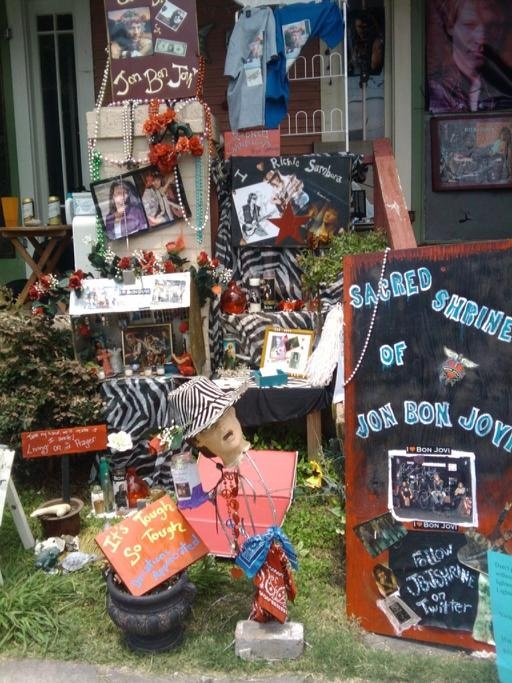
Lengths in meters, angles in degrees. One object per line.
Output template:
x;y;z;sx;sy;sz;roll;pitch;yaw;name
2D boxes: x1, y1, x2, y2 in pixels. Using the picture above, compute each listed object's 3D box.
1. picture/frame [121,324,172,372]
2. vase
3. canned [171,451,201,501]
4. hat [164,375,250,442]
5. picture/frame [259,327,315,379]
-0.893;0.058;5.165;0.393;0.449;0.016;-1;-29;-13;picture/frame
-0.513;1.282;3.002;0.435;0.311;0.356;2;-5;-41;vase
-0.343;0.701;3.139;0.135;0.253;0.135;-12;0;6;canned
-0.207;0.319;2.951;0.352;0.256;0.349;-6;12;-12;hat
0.256;0.101;5.002;0.362;0.391;0.028;4;-18;15;picture/frame
